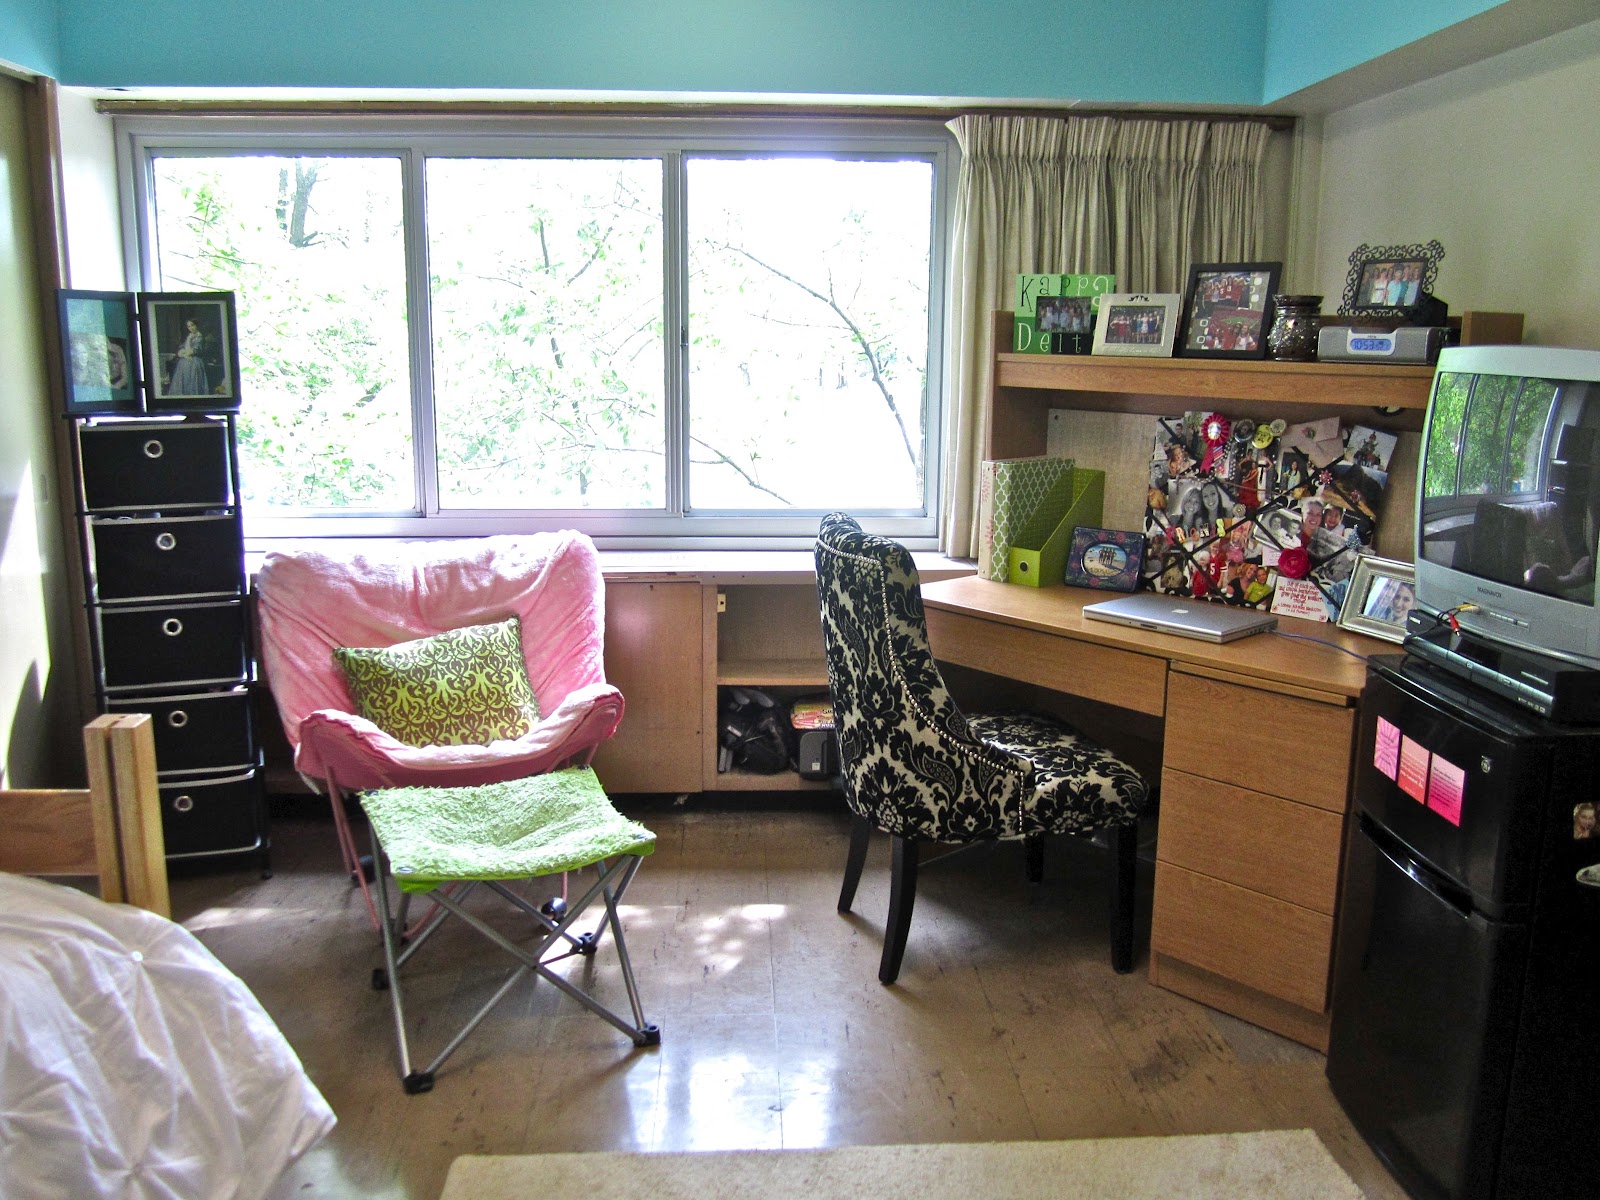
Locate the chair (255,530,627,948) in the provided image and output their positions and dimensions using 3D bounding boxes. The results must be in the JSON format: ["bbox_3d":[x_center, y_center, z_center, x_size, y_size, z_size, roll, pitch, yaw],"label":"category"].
[{"bbox_3d":[-1.031,0.349,3.452,0.991,0.904,0.832,-4,15,-25],"label":"chair"}]

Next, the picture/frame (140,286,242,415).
[{"bbox_3d":[-1.837,-0.745,3.491,0.360,0.492,0.038,-2,2,-10],"label":"picture/frame"}]

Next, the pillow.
[{"bbox_3d":[-1.074,0.237,3.588,0.558,0.168,0.574,-3,33,-18],"label":"pillow"}]

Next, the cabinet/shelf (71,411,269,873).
[{"bbox_3d":[-1.933,0.165,3.693,0.550,1.418,0.501,-3,5,-16],"label":"cabinet/shelf"}]

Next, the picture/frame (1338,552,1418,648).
[{"bbox_3d":[1.559,-0.002,3.085,0.190,0.213,0.020,15,-18,27],"label":"picture/frame"}]

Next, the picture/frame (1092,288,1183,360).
[{"bbox_3d":[1.001,-0.812,3.431,0.226,0.188,0.015,13,-1,33],"label":"picture/frame"}]

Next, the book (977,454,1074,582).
[{"bbox_3d":[0.718,-0.254,3.691,0.117,0.326,0.336,13,21,38],"label":"book"}]

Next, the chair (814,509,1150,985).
[{"bbox_3d":[0.496,0.395,3.313,0.887,1.148,0.782,-1,7,-15],"label":"chair"}]

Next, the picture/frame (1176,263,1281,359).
[{"bbox_3d":[1.217,-0.815,3.263,0.298,0.317,0.032,6,1,44],"label":"picture/frame"}]

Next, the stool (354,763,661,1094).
[{"bbox_3d":[-0.735,0.749,2.909,0.769,0.479,0.753,-3,11,-39],"label":"stool"}]

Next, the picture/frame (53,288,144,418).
[{"bbox_3d":[-2.053,-0.728,3.413,0.072,0.360,0.251,6,15,26],"label":"picture/frame"}]

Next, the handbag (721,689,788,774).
[{"bbox_3d":[-0.170,0.455,4.067,0.210,0.278,0.085,0,-17,0],"label":"handbag"}]

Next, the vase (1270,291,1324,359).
[{"bbox_3d":[1.339,-0.747,3.131,0.154,0.192,0.153,1,11,-3],"label":"vase"}]
